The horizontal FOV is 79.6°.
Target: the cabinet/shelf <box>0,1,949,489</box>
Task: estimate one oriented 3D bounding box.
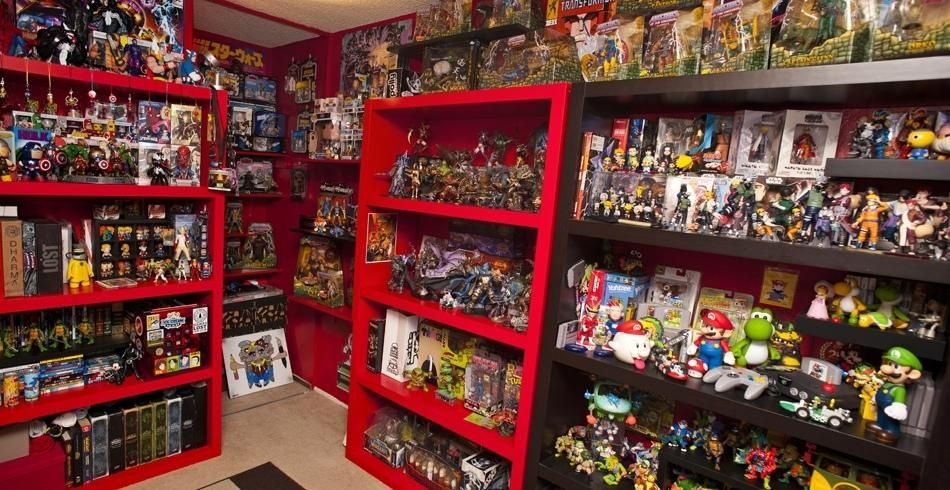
[{"bbox_3d":[-0.037,0.029,4.123,4.238,1.794,2.372,11,6,39],"label":"cabinet/shelf"}]
